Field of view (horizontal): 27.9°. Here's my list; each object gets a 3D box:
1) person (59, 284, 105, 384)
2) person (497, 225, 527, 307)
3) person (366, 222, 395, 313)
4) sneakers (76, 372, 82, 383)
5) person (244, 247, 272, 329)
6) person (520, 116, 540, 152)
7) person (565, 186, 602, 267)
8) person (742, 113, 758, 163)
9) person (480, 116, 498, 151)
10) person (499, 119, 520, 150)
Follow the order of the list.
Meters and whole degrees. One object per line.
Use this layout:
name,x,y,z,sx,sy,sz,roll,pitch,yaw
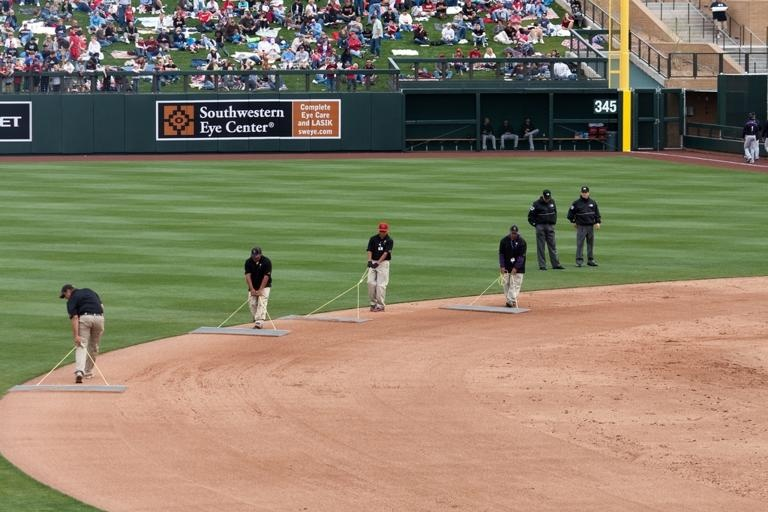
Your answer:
person,-7.049,1.771,36.243,0.901,2.291,0.992,-1,4,-9
person,3.374,0.227,40.707,0.649,2.136,0.964,0,4,4
person,-0.167,0.262,40.413,0.839,2.190,1.048,5,5,40
sneakers,-7.101,2.785,36.072,0.113,0.244,0.125,3,20,-6
person,-3.134,0.754,39.130,0.846,1.928,0.917,-3,10,-19
person,6.461,-5.388,67.871,0.699,1.372,0.497,-2,4,-26
person,5.723,-0.862,44.197,0.867,2.227,1.080,0,4,7
person,14.638,-4.737,61.703,0.581,2.000,1.316,0,4,12
person,4.580,-5.401,67.547,0.539,1.441,0.803,1,4,23
person,5.515,-5.363,67.738,0.840,1.272,0.443,-1,4,-9
